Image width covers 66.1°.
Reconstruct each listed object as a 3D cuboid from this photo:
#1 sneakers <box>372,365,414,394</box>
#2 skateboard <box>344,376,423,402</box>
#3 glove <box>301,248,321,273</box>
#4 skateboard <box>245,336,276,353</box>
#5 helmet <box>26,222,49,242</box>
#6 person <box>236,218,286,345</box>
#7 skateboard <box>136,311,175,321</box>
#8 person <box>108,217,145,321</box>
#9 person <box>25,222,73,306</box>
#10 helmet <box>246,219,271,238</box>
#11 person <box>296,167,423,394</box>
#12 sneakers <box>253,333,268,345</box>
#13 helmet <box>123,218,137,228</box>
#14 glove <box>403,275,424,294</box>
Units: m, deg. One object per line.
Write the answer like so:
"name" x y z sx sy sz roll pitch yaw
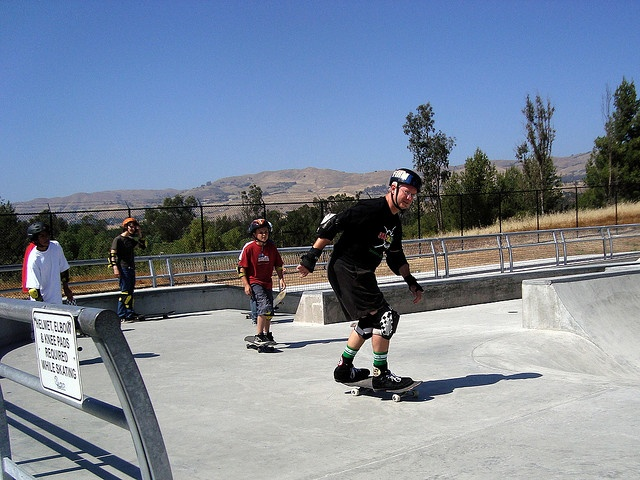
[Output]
"sneakers" 0.742 1.506 5.275 0.488 0.269 0.203 -7 -6 27
"skateboard" 0.647 1.637 5.420 0.822 0.170 0.314 -1 0 35
"glove" -0.118 0.190 5.350 0.109 0.267 0.201 22 -5 37
"skateboard" -0.993 1.662 7.843 0.189 0.136 0.705 -7 8 -36
"helmet" -3.853 -0.122 6.696 0.241 0.267 0.317 -3 2 -33
"person" -0.974 0.662 8.146 0.701 2.054 1.039 -2 2 -3
"skateboard" -3.892 1.772 11.626 0.881 0.182 0.250 -6 13 -22
"person" -4.403 0.637 11.148 0.649 2.323 0.878 -2 2 -4
"person" -3.771 0.305 6.780 0.357 1.103 0.545 0 2 42
"helmet" -1.076 -0.255 8.301 0.289 0.312 0.392 5 -40 -41
"person" 0.535 0.437 5.484 1.183 2.406 0.645 -1 2 11
"sneakers" -0.936 1.562 7.761 0.112 0.136 0.280 1 -4 -38
"helmet" -4.359 -0.420 11.133 0.278 0.123 0.228 -3 1 17
"glove" 1.083 0.497 5.763 0.150 0.255 0.103 -34 7 -19
